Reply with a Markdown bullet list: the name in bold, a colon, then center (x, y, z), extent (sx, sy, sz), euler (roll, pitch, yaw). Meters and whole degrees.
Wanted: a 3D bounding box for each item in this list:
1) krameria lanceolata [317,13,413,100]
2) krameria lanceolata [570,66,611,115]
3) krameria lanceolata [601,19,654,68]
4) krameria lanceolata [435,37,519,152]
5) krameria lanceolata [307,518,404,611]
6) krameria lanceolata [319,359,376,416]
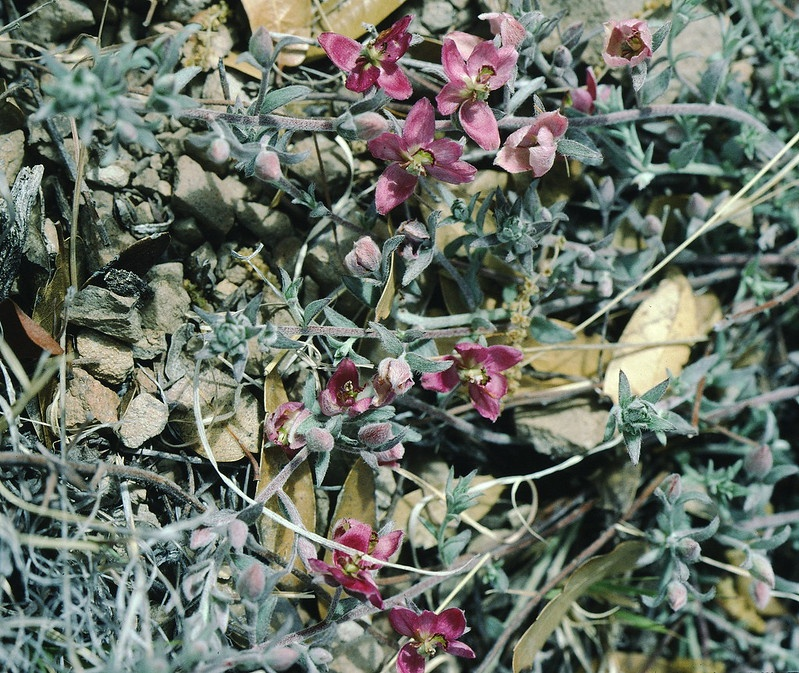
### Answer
- **krameria lanceolata**: center (-0.077, -0.626, 2.121), extent (0.213, 0.132, 0.210), euler (-2, 63, -7)
- **krameria lanceolata**: center (0.508, -0.648, 2.459), extent (0.112, 0.062, 0.142), euler (-2, 102, -4)
- **krameria lanceolata**: center (0.549, -0.709, 2.222), extent (0.114, 0.113, 0.072), euler (33, 27, 6)
- **krameria lanceolata**: center (0.174, -0.591, 2.147), extent (0.171, 0.137, 0.256), euler (12, 62, 1)
- **krameria lanceolata**: center (-0.100, 0.500, 2.118), extent (0.185, 0.110, 0.179), euler (19, 62, 4)
- **krameria lanceolata**: center (-0.136, 0.140, 2.217), extent (0.126, 0.162, 0.143), euler (-13, 64, -12)
